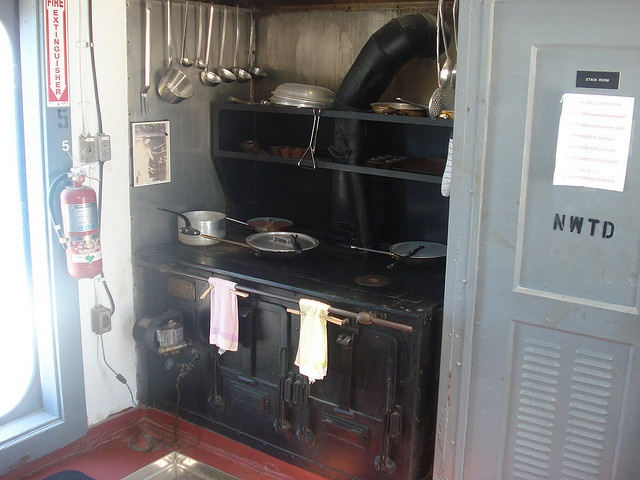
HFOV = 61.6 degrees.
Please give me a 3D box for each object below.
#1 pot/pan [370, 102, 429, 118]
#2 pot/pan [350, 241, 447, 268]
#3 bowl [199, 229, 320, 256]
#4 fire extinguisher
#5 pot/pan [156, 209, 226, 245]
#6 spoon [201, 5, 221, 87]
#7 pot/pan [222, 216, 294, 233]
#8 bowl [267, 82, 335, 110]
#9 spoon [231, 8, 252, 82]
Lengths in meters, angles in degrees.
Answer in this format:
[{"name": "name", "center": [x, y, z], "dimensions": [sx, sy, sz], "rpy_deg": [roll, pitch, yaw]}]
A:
[{"name": "pot/pan", "center": [0.412, -0.714, 2.933], "dimensions": [0.198, 0.065, 0.402], "rpy_deg": [-11, 20, -39]}, {"name": "pot/pan", "center": [0.533, 0.060, 2.990], "dimensions": [0.352, 0.048, 0.219], "rpy_deg": [-14, 21, -40]}, {"name": "bowl", "center": [-0.278, 0.018, 3.177], "dimensions": [0.489, 0.069, 0.253], "rpy_deg": [0, 19, -5]}, {"name": "fire extinguisher", "center": [-1.217, -0.101, 2.739], "dimensions": [0.210, 0.567, 0.219], "rpy_deg": [-12, 25, -43]}, {"name": "pot/pan", "center": [-0.700, -0.101, 3.293], "dimensions": [0.450, 0.224, 0.377], "rpy_deg": [4, 7, 21]}, {"name": "spoon", "center": [-0.659, -1.147, 3.275], "dimensions": [0.099, 0.516, 0.078], "rpy_deg": [16, 23, 30]}, {"name": "pot/pan", "center": [-0.356, -0.096, 3.428], "dimensions": [0.304, 0.044, 0.168], "rpy_deg": [-8, 23, -29]}, {"name": "bowl", "center": [-0.116, -0.868, 3.228], "dimensions": [0.388, 0.139, 0.204], "rpy_deg": [10, 17, 26]}, {"name": "spoon", "center": [-0.524, -1.228, 3.465], "dimensions": [0.114, 0.473, 0.113], "rpy_deg": [-6, 26, -32]}]
